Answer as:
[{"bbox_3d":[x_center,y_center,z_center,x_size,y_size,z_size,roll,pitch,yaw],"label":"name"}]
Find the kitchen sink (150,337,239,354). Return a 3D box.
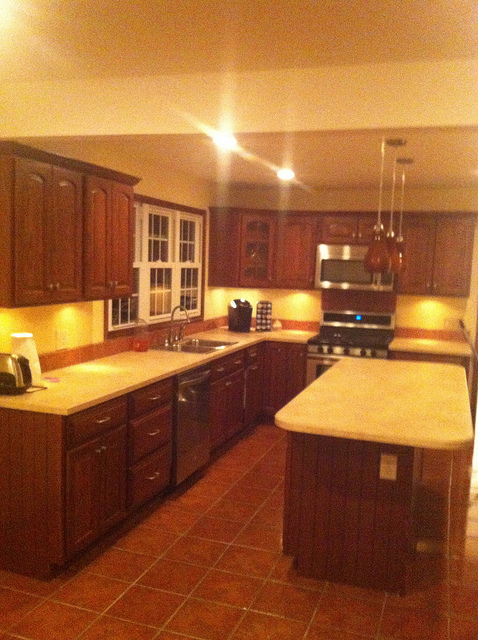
[{"bbox_3d":[-0.365,0.225,4.508,0.559,0.105,0.826,0,2,20],"label":"kitchen sink"}]

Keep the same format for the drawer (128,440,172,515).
[{"bbox_3d":[-0.659,0.956,3.226,0.299,0.327,0.501,3,2,21],"label":"drawer"}]

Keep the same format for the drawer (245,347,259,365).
[{"bbox_3d":[0.132,0.346,5.020,0.124,0.143,0.197,1,4,20],"label":"drawer"}]

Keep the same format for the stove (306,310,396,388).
[{"bbox_3d":[1.190,0.491,5.506,0.835,1.195,0.654,5,7,21],"label":"stove"}]

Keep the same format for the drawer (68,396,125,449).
[{"bbox_3d":[-0.715,0.508,2.612,0.039,0.163,0.511,0,3,16],"label":"drawer"}]

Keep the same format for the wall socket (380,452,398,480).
[{"bbox_3d":[0.669,0.648,2.292,0.070,0.121,0.016,0,3,18],"label":"wall socket"}]

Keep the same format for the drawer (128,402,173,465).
[{"bbox_3d":[-0.539,0.687,3.133,0.211,0.219,0.344,2,3,18],"label":"drawer"}]

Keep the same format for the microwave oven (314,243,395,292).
[{"bbox_3d":[1.204,-0.350,5.559,0.847,0.585,0.564,1,1,18],"label":"microwave oven"}]

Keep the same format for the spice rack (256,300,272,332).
[{"bbox_3d":[0.295,-0.049,5.783,0.216,0.343,0.144,-2,3,-23],"label":"spice rack"}]
